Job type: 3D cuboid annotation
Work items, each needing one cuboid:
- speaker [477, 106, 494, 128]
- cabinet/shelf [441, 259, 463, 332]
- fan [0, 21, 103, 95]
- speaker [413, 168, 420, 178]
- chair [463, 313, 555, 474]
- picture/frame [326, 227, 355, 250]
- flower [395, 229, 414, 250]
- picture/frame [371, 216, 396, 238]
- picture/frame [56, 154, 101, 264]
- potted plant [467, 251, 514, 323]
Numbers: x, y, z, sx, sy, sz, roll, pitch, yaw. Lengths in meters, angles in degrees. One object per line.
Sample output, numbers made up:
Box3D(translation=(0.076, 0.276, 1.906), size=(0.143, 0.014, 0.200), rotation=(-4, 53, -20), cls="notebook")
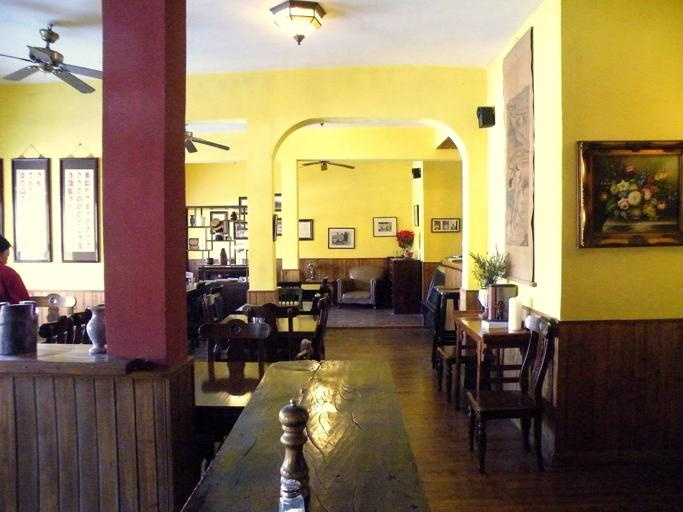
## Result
Box3D(translation=(1.530, -1.506, 6.660), size=(0.197, 0.274, 0.198), rotation=(1, 4, 9), cls="speaker")
Box3D(translation=(1.380, 0.513, 7.736), size=(0.306, 0.874, 0.937), rotation=(1, 1, 6), cls="cabinet/shelf")
Box3D(translation=(-2.731, -1.881, 5.751), size=(0.697, 0.594, 1.196), rotation=(-5, 15, -45), cls="fan")
Box3D(translation=(1.315, -1.464, 10.907), size=(0.158, 0.174, 0.164), rotation=(2, 10, 9), cls="speaker")
Box3D(translation=(1.416, 1.081, 5.245), size=(0.684, 1.242, 0.899), rotation=(6, 10, 4), cls="chair")
Box3D(translation=(-0.011, -0.353, 12.488), size=(0.430, 0.368, 0.021), rotation=(0, -4, -2), cls="picture/frame")
Box3D(translation=(1.171, -0.304, 11.344), size=(0.322, 0.340, 0.333), rotation=(3, 0, 19), cls="flower")
Box3D(translation=(0.857, -0.588, 12.454), size=(0.414, 0.361, 0.032), rotation=(0, -1, -2), cls="picture/frame")
Box3D(translation=(-3.040, -0.538, 7.155), size=(0.519, 1.210, 0.277), rotation=(4, 10, -8), cls="picture/frame")
Box3D(translation=(1.536, 0.290, 6.033), size=(0.518, 0.844, 0.455), rotation=(-1, -2, -4), cls="potted plant")
